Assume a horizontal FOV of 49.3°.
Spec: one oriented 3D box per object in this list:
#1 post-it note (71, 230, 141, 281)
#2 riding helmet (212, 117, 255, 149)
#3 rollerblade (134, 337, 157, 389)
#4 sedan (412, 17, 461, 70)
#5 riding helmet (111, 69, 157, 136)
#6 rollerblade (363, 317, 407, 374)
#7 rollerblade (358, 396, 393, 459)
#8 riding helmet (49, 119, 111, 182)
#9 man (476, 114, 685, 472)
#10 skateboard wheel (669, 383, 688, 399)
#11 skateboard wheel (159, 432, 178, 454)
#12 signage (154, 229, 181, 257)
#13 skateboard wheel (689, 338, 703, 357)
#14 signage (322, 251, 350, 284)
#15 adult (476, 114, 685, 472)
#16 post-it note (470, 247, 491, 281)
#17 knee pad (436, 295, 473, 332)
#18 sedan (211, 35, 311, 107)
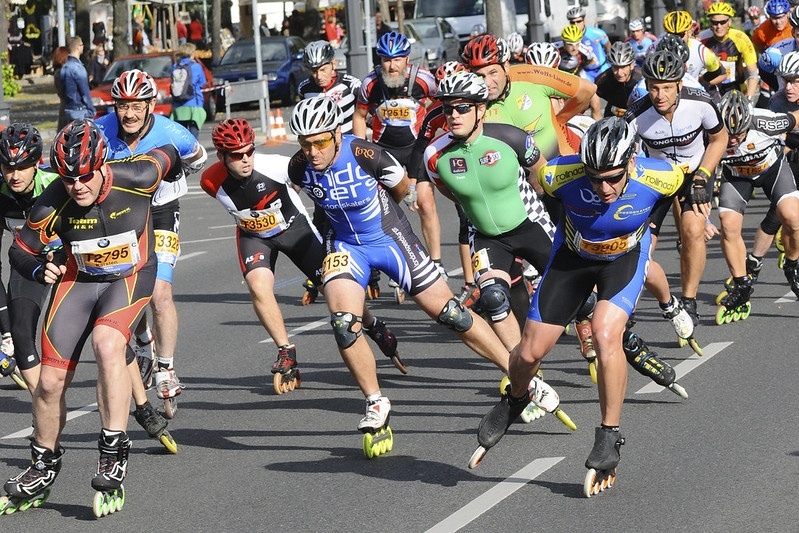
[{"bbox_3d":[-2.032,-0.086,5.985,0.310,0.226,0.047,-10,19,-11],"label":"post-it note"},{"bbox_3d":[-1.461,-1.209,7.652,0.358,0.191,0.500,-11,27,-9],"label":"riding helmet"},{"bbox_3d":[-2.236,0.835,7.635,0.155,0.485,0.214,-8,-2,4],"label":"rollerblade"},{"bbox_3d":[1.319,-8.069,31.163,1.570,1.400,2.914,-2,13,9],"label":"sedan"},{"bbox_3d":[-2.292,-1.398,7.475,0.402,0.548,0.565,0,16,2],"label":"riding helmet"},{"bbox_3d":[-0.137,0.754,8.116,0.177,0.555,0.246,-41,23,-1],"label":"rollerblade"},{"bbox_3d":[-0.166,1.197,6.392,0.143,0.382,0.593,-9,0,14],"label":"rollerblade"},{"bbox_3d":[-2.083,-0.809,5.702,0.291,0.177,0.415,-7,49,10],"label":"riding helmet"},{"bbox_3d":[1.263,0.238,6.030,0.912,1.962,1.293,6,15,40],"label":"man"},{"bbox_3d":[2.267,1.020,7.082,0.134,0.052,0.097,38,58,21],"label":"skateboard wheel"},{"bbox_3d":[-1.763,1.346,6.643,0.067,0.134,0.183,-28,-22,1],"label":"skateboard wheel"},{"bbox_3d":[-2.098,-0.223,7.871,0.204,0.160,0.213,0,2,10],"label":"signage"},{"bbox_3d":[2.787,0.768,8.181,0.037,0.141,0.103,-28,11,9],"label":"skateboard wheel"},{"bbox_3d":[-0.480,0.014,6.700,0.222,0.151,0.046,-14,-36,27],"label":"signage"},{"bbox_3d":[1.264,0.238,6.031,0.912,1.962,1.289,6,15,40],"label":"adult"},{"bbox_3d":[0.688,-0.027,7.310,0.220,0.234,0.034,-27,-41,35],"label":"post-it note"},{"bbox_3d":[0.432,0.380,6.735,0.268,0.203,0.106,27,-3,-1],"label":"knee pad"},{"bbox_3d":[-4.359,-6.882,30.940,3.126,2.348,4.976,1,7,20],"label":"sedan"}]
